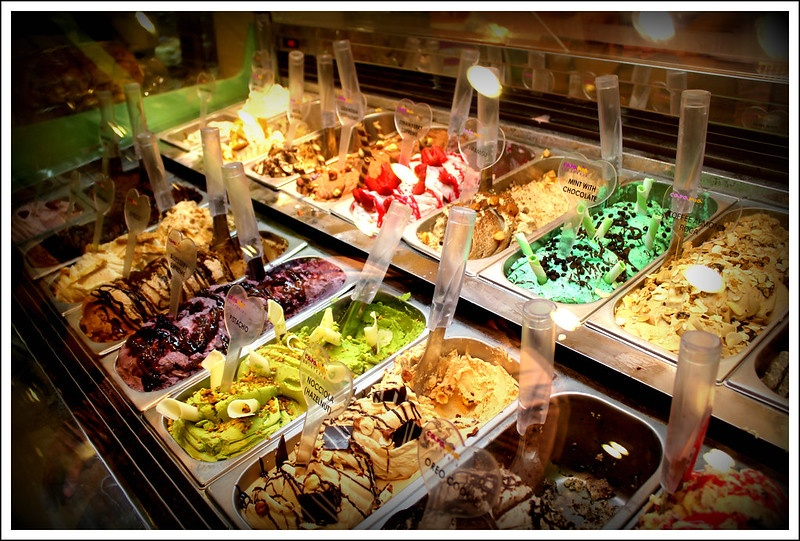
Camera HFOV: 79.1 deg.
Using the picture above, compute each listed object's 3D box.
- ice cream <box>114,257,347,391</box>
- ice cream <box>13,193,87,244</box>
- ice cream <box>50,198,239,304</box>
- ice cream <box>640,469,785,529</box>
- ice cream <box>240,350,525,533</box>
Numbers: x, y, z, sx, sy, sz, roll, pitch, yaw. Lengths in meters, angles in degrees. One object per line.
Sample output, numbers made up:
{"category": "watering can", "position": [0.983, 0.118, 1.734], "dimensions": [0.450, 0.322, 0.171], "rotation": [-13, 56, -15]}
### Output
{"category": "ice cream", "position": [-0.676, 0.279, 2.073], "dimensions": [0.806, 0.158, 0.409], "rotation": [-24, 36, -24]}
{"category": "ice cream", "position": [-1.814, -0.249, 2.577], "dimensions": [0.347, 0.107, 0.221], "rotation": [-22, 58, -14]}
{"category": "ice cream", "position": [-1.238, -0.035, 2.383], "dimensions": [0.713, 0.224, 0.381], "rotation": [-27, 36, -22]}
{"category": "ice cream", "position": [0.887, 0.653, 1.377], "dimensions": [0.259, 0.087, 0.198], "rotation": [-8, 22, 14]}
{"category": "ice cream", "position": [-0.009, 0.560, 1.630], "dimensions": [0.895, 0.139, 0.415], "rotation": [-31, 42, -24]}
